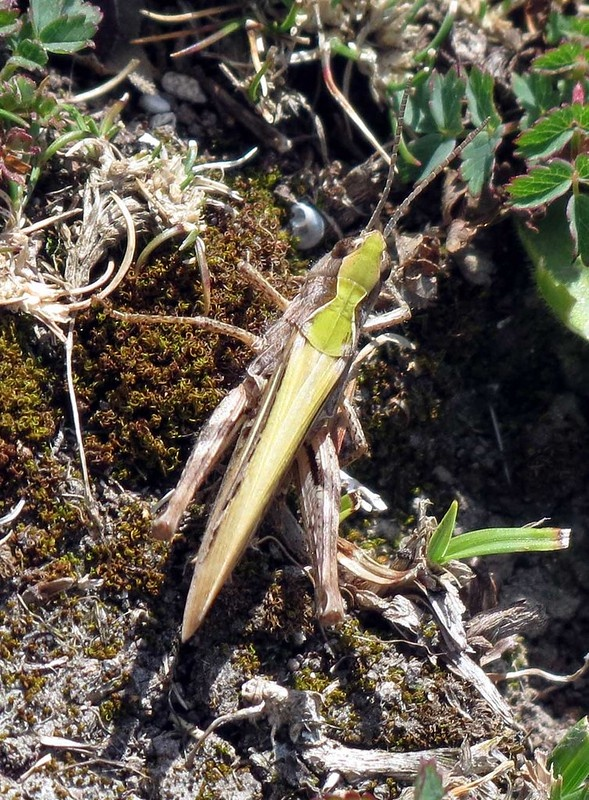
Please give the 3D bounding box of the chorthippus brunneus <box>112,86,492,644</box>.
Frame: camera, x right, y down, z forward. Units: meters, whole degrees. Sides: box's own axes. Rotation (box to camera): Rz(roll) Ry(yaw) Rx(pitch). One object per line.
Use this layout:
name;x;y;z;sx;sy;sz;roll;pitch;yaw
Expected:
chorthippus brunneus;-0.004;0.094;3.009;0.539;0.843;1.264;9;57;-8
